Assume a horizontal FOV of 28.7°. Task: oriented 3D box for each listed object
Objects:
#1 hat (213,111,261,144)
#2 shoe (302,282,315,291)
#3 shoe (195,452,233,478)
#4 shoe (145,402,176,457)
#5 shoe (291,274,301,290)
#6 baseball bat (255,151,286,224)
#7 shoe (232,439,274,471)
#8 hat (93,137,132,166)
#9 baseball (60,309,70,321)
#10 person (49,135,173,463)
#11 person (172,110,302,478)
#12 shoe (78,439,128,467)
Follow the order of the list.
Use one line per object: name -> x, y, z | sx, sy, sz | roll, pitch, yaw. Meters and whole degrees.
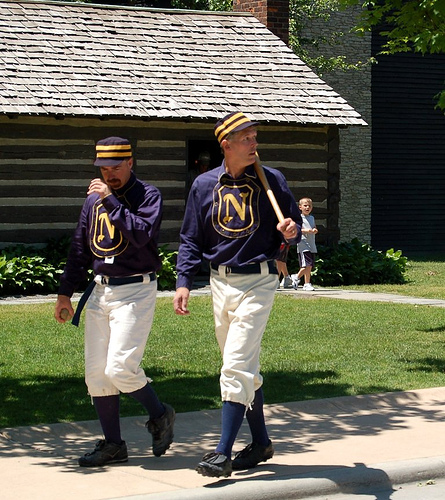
hat -> 0.075, -0.683, 4.846 | 0.226, 0.190, 0.244 | 3, 2, 1
shoe -> 1.394, 0.589, 14.220 | 0.199, 0.143, 0.327 | 3, 2, 4
shoe -> -0.040, 1.108, 4.451 | 0.136, 0.149, 0.168 | 4, 3, 20
shoe -> -0.362, 1.047, 5.054 | 0.160, 0.317, 0.169 | 3, 2, -4
shoe -> 1.192, 0.529, 14.304 | 0.132, 0.249, 0.098 | -10, 1, 29
baseball bat -> 0.251, -0.364, 4.831 | 0.088, 0.594, 0.050 | -26, -41, 3
shoe -> 0.159, 1.137, 4.855 | 0.292, 0.099, 0.099 | -5, 4, -35
hat -> -0.616, -0.565, 4.981 | 0.197, 0.175, 0.187 | 2, 2, -8
baseball -> -0.925, 0.379, 5.140 | 0.058, 0.058, 0.022 | -4, -1, 3
person -> -0.664, 0.278, 5.417 | 0.705, 1.867, 1.524 | 3, 2, -9
person -> -0.020, 0.227, 4.667 | 0.600, 1.961, 0.656 | 4, 3, 12
shoe -> -0.649, 1.150, 4.953 | 0.319, 0.119, 0.108 | 0, -1, -19
